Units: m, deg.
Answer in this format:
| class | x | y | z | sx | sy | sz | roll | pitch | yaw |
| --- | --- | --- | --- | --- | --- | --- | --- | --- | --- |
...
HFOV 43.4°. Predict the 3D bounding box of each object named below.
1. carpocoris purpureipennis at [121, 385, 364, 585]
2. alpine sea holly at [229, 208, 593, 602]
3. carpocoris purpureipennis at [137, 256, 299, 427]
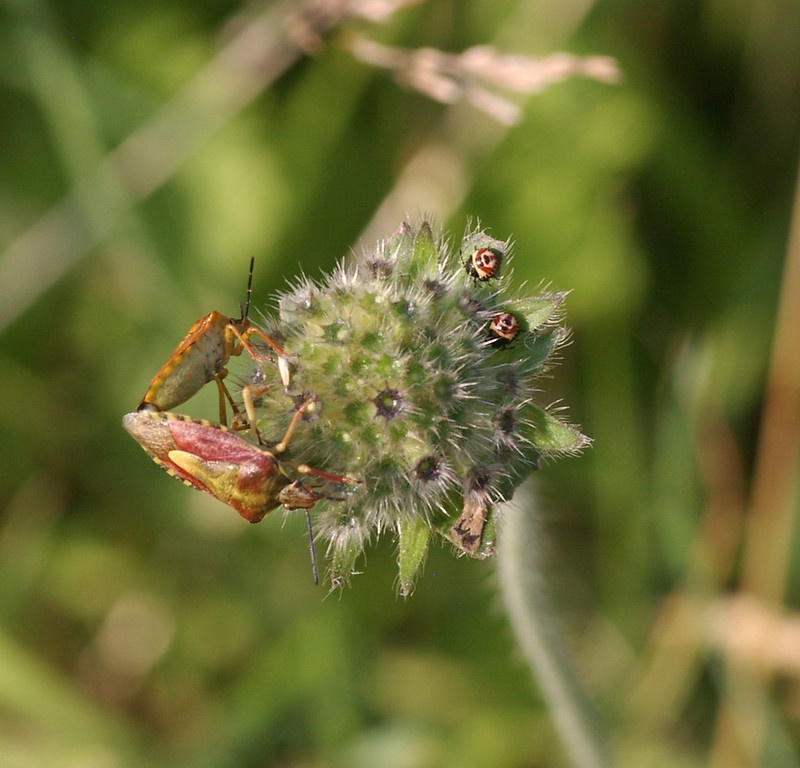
| class | x | y | z | sx | sy | sz | roll | pitch | yaw |
| --- | --- | --- | --- | --- | --- | --- | --- | --- | --- |
| carpocoris purpureipennis | -0.936 | 0.443 | 5.230 | 1.151 | 0.363 | 0.363 | 24 | 62 | -7 |
| alpine sea holly | 0.083 | 0.066 | 5.454 | 1.827 | 0.751 | 2.129 | -2 | 90 | -13 |
| carpocoris purpureipennis | -1.024 | -0.134 | 5.443 | 0.751 | 0.631 | 0.368 | -50 | 119 | -13 |
